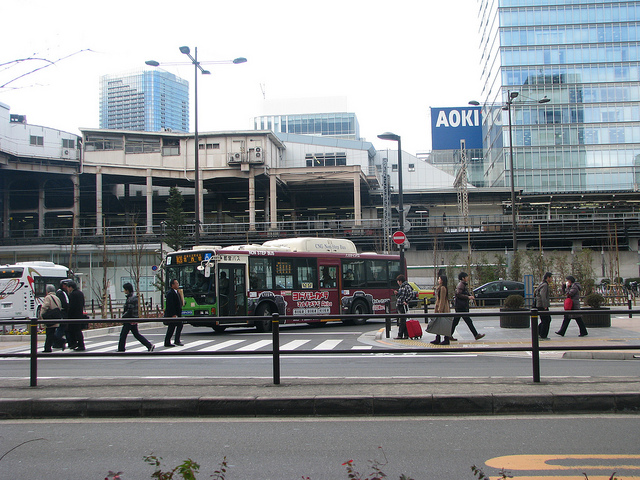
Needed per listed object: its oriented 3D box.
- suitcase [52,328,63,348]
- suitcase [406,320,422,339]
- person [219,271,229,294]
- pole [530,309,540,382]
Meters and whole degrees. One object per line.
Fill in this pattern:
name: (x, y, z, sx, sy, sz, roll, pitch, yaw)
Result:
suitcase: (-11.614, 4.306, 44.114, 0.382, 0.886, 1.011, -3, 0, -12)
suitcase: (4.608, 4.342, 48.435, 0.734, 0.907, 1.628, -3, 0, -2)
person: (-5.300, 2.367, 55.381, 0.566, 1.175, 0.153, -4, 1, -34)
pole: (9.238, 4.482, 42.689, 0.338, 2.869, 0.646, -3, 0, 12)
